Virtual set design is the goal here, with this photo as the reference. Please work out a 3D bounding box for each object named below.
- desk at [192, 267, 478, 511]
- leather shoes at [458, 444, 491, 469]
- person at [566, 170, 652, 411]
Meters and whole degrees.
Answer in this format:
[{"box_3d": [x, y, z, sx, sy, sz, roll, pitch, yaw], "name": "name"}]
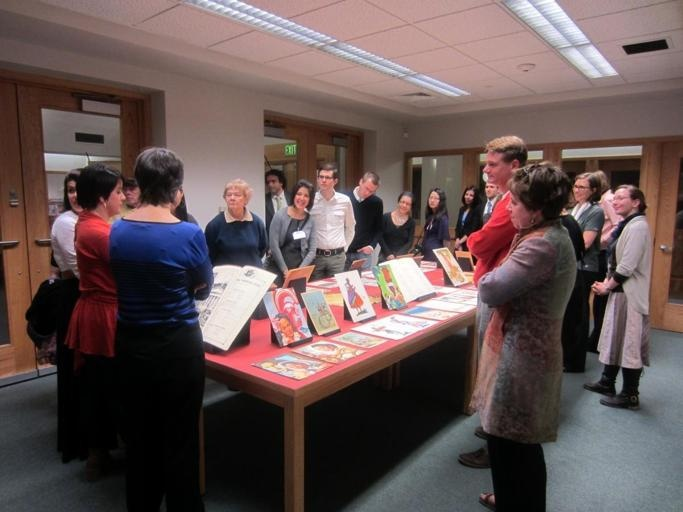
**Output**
[{"box_3d": [0.348, 0.867, 3.790, 1.116, 1.071, 2.922, 6, 11, 36], "name": "desk"}, {"box_3d": [0.905, 1.386, 3.366, 0.272, 0.123, 0.105, 6, -5, 10], "name": "leather shoes"}, {"box_3d": [2.373, 0.334, 4.139, 0.462, 1.845, 0.474, 4, 9, 27], "name": "person"}]
